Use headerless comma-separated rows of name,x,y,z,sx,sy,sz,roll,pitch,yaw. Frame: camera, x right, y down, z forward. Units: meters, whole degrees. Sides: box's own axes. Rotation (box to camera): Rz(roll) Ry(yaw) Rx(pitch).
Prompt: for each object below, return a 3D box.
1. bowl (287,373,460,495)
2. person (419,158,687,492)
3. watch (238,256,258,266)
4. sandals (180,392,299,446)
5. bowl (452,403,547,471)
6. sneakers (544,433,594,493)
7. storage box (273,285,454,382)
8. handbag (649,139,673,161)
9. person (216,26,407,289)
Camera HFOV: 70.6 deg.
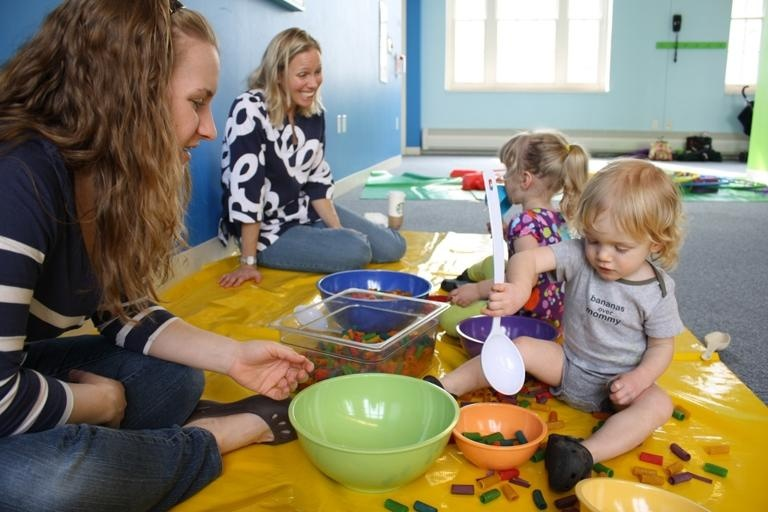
bowl,-0.023,0.399,1.259,0.283,0.107,0.271,2,10,0
person,0.542,0.029,1.697,0.796,0.917,0.706,-13,22,-29
watch,-0.596,0.022,2.387,0.050,0.028,0.046,-1,-8,41
sandals,-0.363,0.413,1.394,0.306,0.098,0.105,0,21,2
bowl,0.274,0.433,1.305,0.163,0.058,0.159,-3,18,1
sneakers,0.409,0.458,1.197,0.079,0.052,0.132,6,17,0
storage box,-0.073,0.175,1.512,0.338,0.137,0.275,3,11,32
handbag,3.528,-1.349,6.953,0.281,0.266,0.275,1,20,17
person,-0.286,-0.468,2.503,0.984,1.088,0.798,-4,19,-25
